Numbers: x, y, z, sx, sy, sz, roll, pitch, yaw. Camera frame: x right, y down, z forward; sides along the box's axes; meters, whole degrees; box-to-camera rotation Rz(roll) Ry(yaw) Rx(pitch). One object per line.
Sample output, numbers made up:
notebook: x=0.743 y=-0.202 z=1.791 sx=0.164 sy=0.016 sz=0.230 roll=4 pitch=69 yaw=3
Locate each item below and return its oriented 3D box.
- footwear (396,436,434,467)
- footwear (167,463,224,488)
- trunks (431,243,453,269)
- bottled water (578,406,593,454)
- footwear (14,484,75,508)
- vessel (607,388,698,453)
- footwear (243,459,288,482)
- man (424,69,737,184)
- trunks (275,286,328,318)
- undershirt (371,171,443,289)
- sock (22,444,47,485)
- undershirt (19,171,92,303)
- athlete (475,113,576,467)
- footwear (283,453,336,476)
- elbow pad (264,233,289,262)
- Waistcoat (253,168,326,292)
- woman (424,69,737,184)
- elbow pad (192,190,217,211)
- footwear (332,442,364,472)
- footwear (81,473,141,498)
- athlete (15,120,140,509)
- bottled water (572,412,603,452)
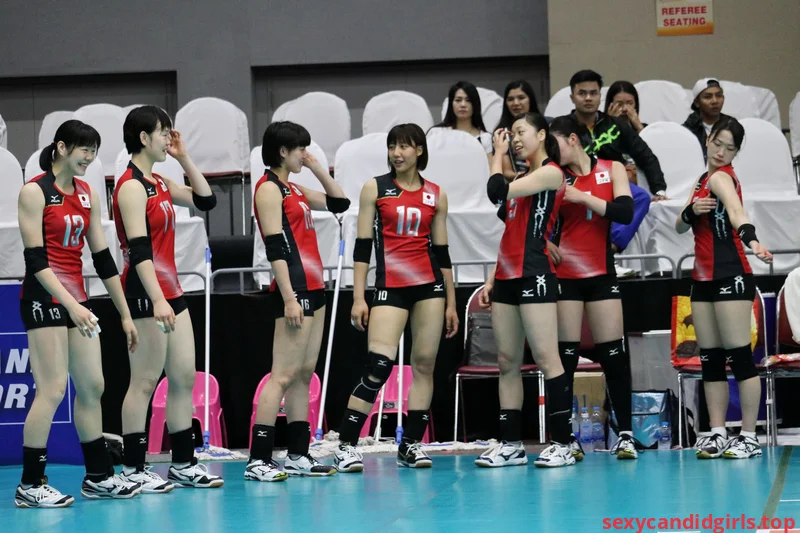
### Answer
footwear: x=0.100 y=1.458 z=7.505 sx=0.132 sy=0.182 sz=0.370 roll=3 pitch=-11 yaw=-26
footwear: x=-1.488 y=1.523 z=7.052 sx=0.358 sy=0.169 sz=0.176 roll=2 pitch=-7 yaw=8
trunks: x=0.313 y=-0.072 z=7.470 sx=0.170 sy=0.260 sz=0.156 roll=-2 pitch=-8 yaw=-7
bottled water: x=1.618 y=1.422 z=8.477 sx=0.139 sy=0.363 sz=0.145 roll=-14 pitch=-20 yaw=39
footwear: x=-2.465 y=1.583 z=6.691 sx=0.331 sy=0.158 sz=0.179 roll=0 pitch=-7 yaw=6
vessel: x=2.358 y=1.507 z=8.581 sx=0.801 sy=0.599 sz=0.652 roll=25 pitch=-23 yaw=-33
footwear: x=-1.000 y=1.513 z=7.179 sx=0.304 sy=0.154 sz=0.139 roll=0 pitch=-6 yaw=19
man: x=2.152 y=-1.392 z=9.465 sx=1.370 sy=0.890 sz=1.893 roll=0 pitch=4 yaw=-5
trunks: x=-0.746 y=0.262 z=7.098 sx=0.289 sy=0.222 sz=0.206 roll=1 pitch=-8 yaw=-31
undershirt: x=0.057 y=-0.253 z=7.414 sx=0.507 sy=0.948 sz=0.342 roll=3 pitch=-12 yaw=-10
sock: x=-2.545 y=1.388 z=6.718 sx=0.154 sy=0.270 sz=0.136 roll=0 pitch=-6 yaw=-24
undershirt: x=-2.424 y=-0.210 z=6.833 sx=0.368 sy=0.959 sz=0.502 roll=7 pitch=6 yaw=17
athlete: x=0.953 y=0.203 z=7.373 sx=0.686 sy=2.650 sz=0.798 roll=-3 pitch=-6 yaw=1
footwear: x=-0.689 y=1.494 z=7.330 sx=0.398 sy=0.198 sz=0.151 roll=1 pitch=-4 yaw=1
elbow pad: x=-0.894 y=-0.140 z=7.015 sx=0.172 sy=0.209 sz=0.083 roll=-2 pitch=-6 yaw=-7
Waistcoat: x=-0.809 y=-0.255 z=7.248 sx=0.336 sy=0.920 sz=0.475 roll=-8 pitch=4 yaw=21
woman: x=2.150 y=-1.384 z=9.443 sx=1.370 sy=0.890 sz=1.893 roll=0 pitch=4 yaw=-5
elbow pad: x=-1.487 y=-0.501 z=7.295 sx=0.140 sy=0.115 sz=0.139 roll=1 pitch=-5 yaw=-32
footwear: x=-0.398 y=1.463 z=7.368 sx=0.126 sy=0.144 sz=0.290 roll=3 pitch=-8 yaw=-29
footwear: x=-2.052 y=1.544 z=6.872 sx=0.376 sy=0.191 sz=0.165 roll=-1 pitch=-2 yaw=1
athlete: x=-2.282 y=0.318 z=6.778 sx=0.774 sy=2.675 sz=0.616 roll=0 pitch=-6 yaw=-26
bottled water: x=1.636 y=1.426 z=8.480 sx=0.275 sy=0.563 sz=0.305 roll=-3 pitch=-3 yaw=11
